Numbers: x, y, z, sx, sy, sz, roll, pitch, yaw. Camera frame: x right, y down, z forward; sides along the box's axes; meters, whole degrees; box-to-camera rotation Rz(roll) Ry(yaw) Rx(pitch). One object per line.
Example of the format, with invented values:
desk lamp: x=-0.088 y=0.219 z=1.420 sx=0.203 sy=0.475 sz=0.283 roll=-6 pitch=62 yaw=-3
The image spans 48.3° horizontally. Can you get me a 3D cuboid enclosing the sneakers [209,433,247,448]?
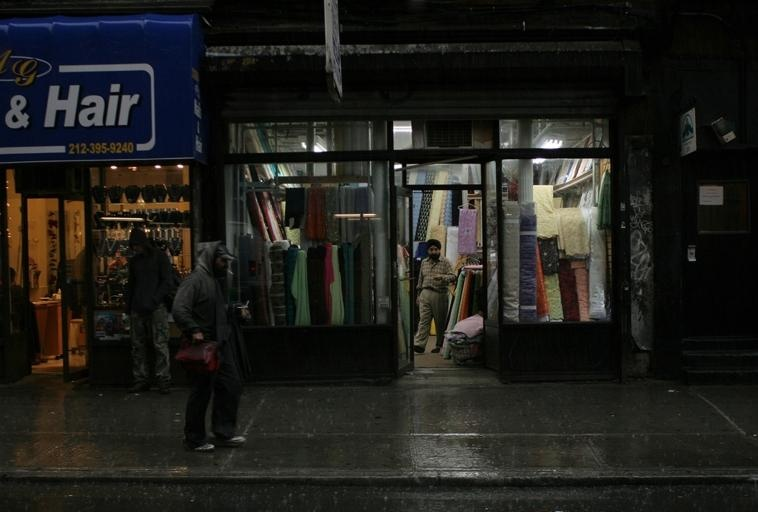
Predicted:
sneakers: x=-2.027 y=2.447 z=11.246 sx=0.470 sy=0.198 sz=0.169 roll=-2 pitch=-1 yaw=-2

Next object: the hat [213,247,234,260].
hat: x=-2.072 y=-0.012 z=11.176 sx=0.231 sy=0.069 sz=0.154 roll=13 pitch=21 yaw=-5

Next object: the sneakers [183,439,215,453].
sneakers: x=-2.353 y=2.465 z=10.990 sx=0.380 sy=0.173 sz=0.163 roll=-3 pitch=-2 yaw=2

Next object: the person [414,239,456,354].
person: x=1.044 y=0.776 z=15.914 sx=0.751 sy=2.162 sz=0.658 roll=0 pitch=12 yaw=4

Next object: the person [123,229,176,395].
person: x=-3.641 y=0.871 z=13.378 sx=0.816 sy=2.511 sz=0.830 roll=-1 pitch=12 yaw=-1

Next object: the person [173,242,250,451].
person: x=-2.208 y=1.188 z=11.089 sx=0.958 sy=2.620 sz=0.725 roll=-9 pitch=14 yaw=-33
